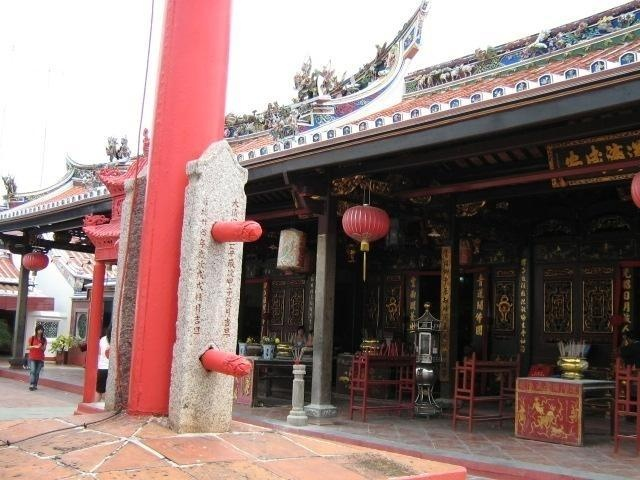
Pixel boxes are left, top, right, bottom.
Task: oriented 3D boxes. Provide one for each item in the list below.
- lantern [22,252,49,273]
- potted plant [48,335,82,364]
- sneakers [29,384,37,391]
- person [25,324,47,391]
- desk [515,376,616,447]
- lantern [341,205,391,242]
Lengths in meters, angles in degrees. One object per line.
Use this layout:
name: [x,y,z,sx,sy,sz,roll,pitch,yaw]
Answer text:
lantern: [-7.132,0.552,13.464,0.601,0.564,0.560,0,4,16]
potted plant: [-7.764,3.354,16.343,1.551,0.830,0.569,-3,-13,22]
sneakers: [-5.616,2.913,10.582,0.095,0.129,0.148,17,-37,-42]
person: [-5.735,2.365,10.840,0.325,1.259,1.031,9,-13,-26]
desk: [3.022,2.095,6.510,0.759,0.703,1.032,14,-18,-23]
lantern: [0.654,-0.204,7.609,0.626,0.578,0.569,2,-4,-20]
